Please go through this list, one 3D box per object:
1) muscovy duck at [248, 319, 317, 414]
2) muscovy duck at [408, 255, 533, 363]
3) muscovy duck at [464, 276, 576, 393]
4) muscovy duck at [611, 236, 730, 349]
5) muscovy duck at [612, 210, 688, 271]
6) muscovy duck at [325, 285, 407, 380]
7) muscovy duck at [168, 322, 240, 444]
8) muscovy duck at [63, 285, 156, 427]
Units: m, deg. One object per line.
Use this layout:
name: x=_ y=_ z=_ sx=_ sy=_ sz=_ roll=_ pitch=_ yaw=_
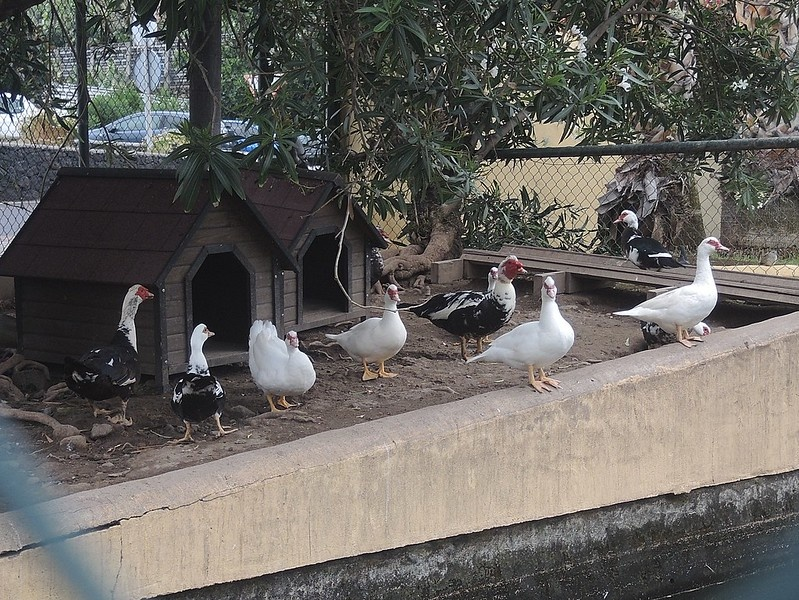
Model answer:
muscovy duck: x=-0.791 y=0.435 z=7.865 sx=0.443 sy=0.591 sz=0.694 roll=-2 pitch=15 yaw=-27
muscovy duck: x=0.531 y=0.063 z=8.801 sx=1.228 sy=0.783 sz=0.489 roll=5 pitch=6 yaw=40
muscovy duck: x=0.832 y=0.231 z=7.630 sx=0.797 sy=0.673 sz=0.419 roll=-3 pitch=6 yaw=38
muscovy duck: x=1.927 y=-0.055 z=8.106 sx=0.836 sy=0.664 sz=0.396 roll=-3 pitch=5 yaw=31
muscovy duck: x=2.181 y=-0.482 z=10.048 sx=0.755 sy=0.514 sz=0.333 roll=14 pitch=9 yaw=24
muscovy duck: x=-0.216 y=0.235 z=8.477 sx=0.424 sy=0.636 sz=0.752 roll=-1 pitch=0 yaw=-41
muscovy duck: x=-1.279 y=0.525 z=7.407 sx=0.367 sy=0.750 sz=0.807 roll=-4 pitch=-1 yaw=-13
muscovy duck: x=-1.955 y=0.356 z=7.736 sx=0.434 sy=0.873 sz=1.075 roll=1 pitch=6 yaw=15
